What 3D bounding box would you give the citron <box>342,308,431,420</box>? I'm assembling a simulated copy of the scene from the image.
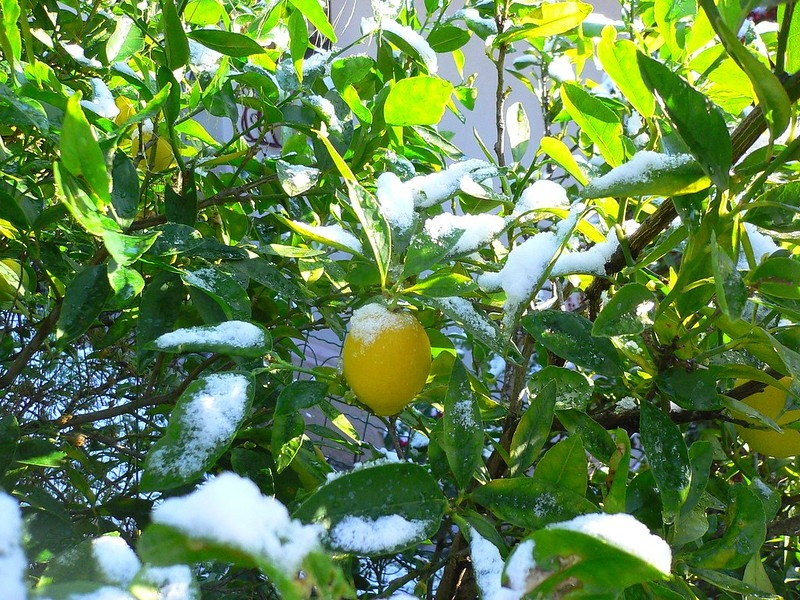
[{"bbox_3d":[-0.010,0.055,0.617,0.082,0.099,0.080,7,-11,-44],"label":"citron"}]
